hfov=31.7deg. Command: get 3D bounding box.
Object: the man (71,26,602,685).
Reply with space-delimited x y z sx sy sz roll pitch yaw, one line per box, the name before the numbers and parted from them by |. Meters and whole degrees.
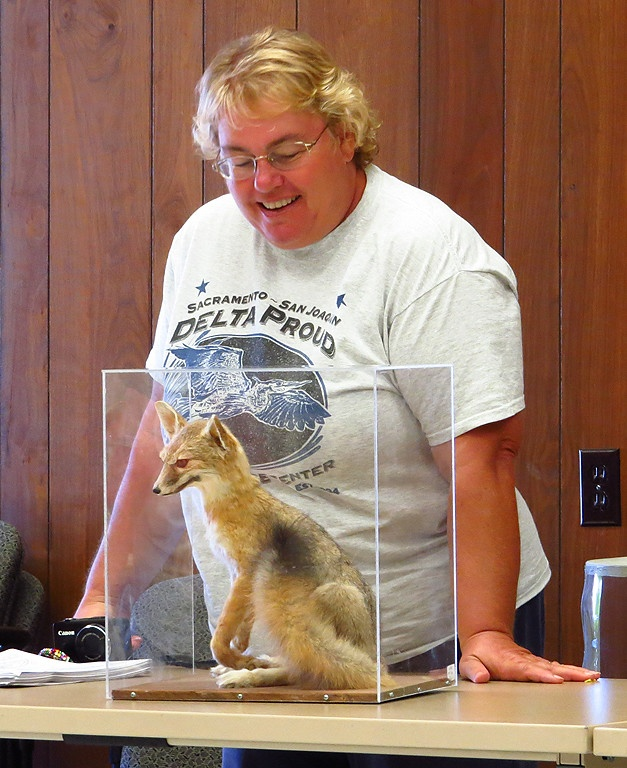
man | 0.007 0.011 1.230 0.676 0.717 0.400 -11 -13 32
